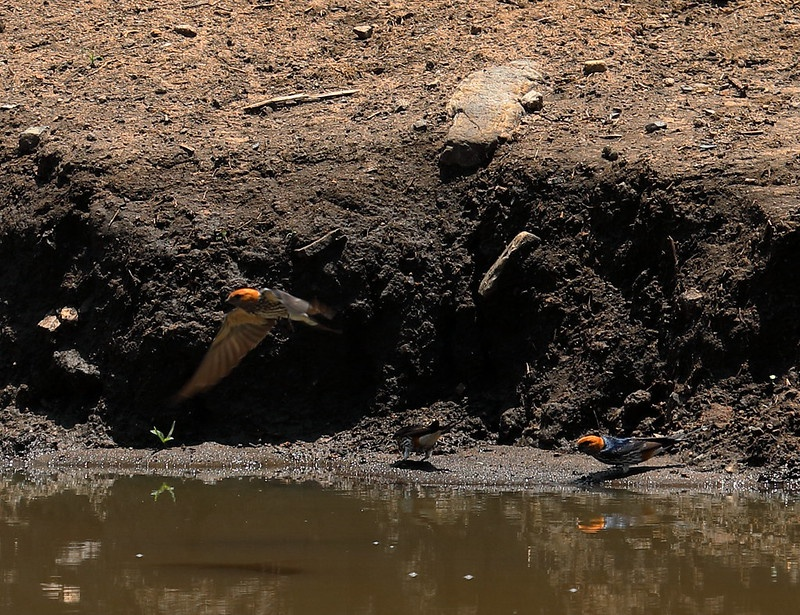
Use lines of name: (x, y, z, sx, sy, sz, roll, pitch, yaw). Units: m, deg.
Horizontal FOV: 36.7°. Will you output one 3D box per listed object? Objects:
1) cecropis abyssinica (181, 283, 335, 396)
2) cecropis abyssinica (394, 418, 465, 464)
cecropis abyssinica: (-1.566, 0.297, 12.585, 1.450, 0.985, 0.777, -4, 10, -18)
cecropis abyssinica: (0.246, 1.803, 16.260, 0.604, 0.569, 0.363, 0, 10, 4)
